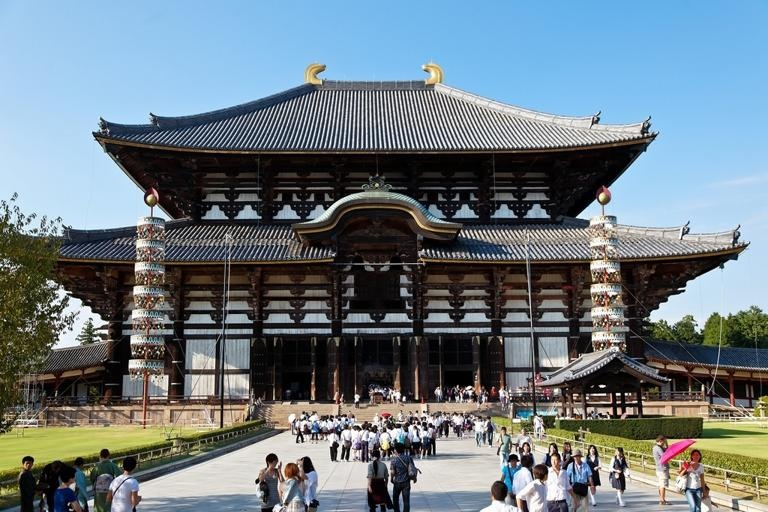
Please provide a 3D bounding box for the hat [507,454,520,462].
[{"bbox_3d":[5.263,8.222,38.613,0.387,0.150,0.374,3,-4,4],"label":"hat"}]

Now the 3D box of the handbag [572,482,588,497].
[{"bbox_3d":[8.281,9.937,40.375,0.997,0.651,0.539,-4,-15,14],"label":"handbag"}]

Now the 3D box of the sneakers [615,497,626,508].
[{"bbox_3d":[10.550,11.065,42.365,0.195,0.239,0.568,-7,-26,0],"label":"sneakers"}]

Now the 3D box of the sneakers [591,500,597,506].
[{"bbox_3d":[9.310,11.078,42.295,0.231,0.201,0.351,-5,-17,11],"label":"sneakers"}]

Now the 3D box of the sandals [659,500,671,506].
[{"bbox_3d":[12.463,10.951,42.132,0.438,0.159,0.201,-5,-14,10],"label":"sandals"}]
